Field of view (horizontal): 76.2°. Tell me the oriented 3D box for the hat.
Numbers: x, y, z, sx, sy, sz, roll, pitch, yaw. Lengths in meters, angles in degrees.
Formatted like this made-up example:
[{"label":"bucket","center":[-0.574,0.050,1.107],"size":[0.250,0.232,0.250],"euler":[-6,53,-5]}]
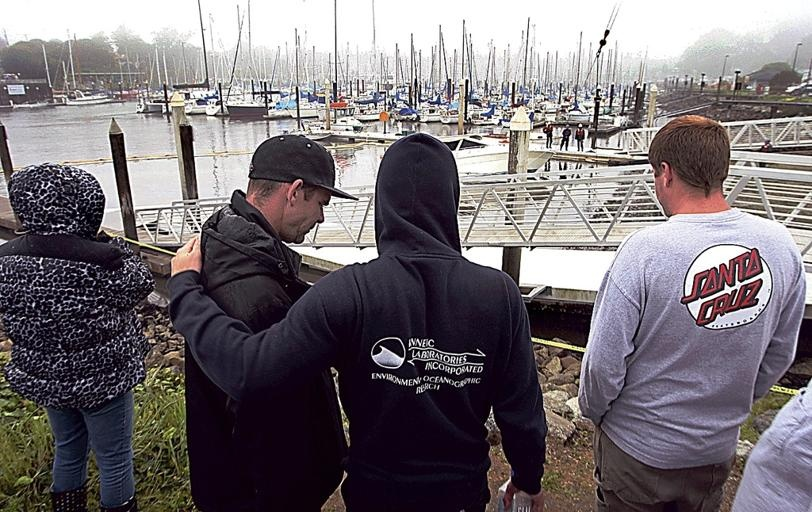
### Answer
[{"label":"hat","center":[-0.617,-0.504,2.948],"size":[0.500,0.234,0.304],"euler":[5,6,-25]}]
